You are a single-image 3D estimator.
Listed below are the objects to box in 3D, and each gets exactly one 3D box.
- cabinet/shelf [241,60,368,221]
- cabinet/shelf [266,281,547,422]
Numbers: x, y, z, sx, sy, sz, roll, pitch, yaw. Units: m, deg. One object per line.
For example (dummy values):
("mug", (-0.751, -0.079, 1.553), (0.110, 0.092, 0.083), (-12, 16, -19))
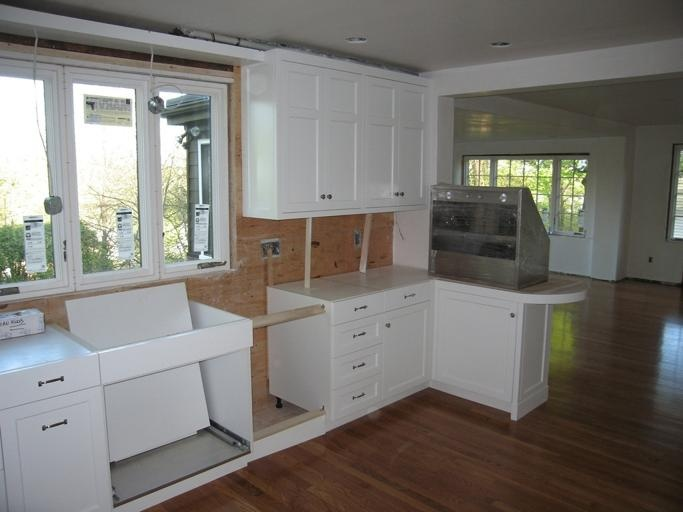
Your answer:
("cabinet/shelf", (-0.327, -0.920, 3.906), (1.166, 1.334, 0.576), (-7, 14, -38))
("cabinet/shelf", (0.585, 0.810, 4.252), (1.527, 0.883, 1.529), (6, 10, 44))
